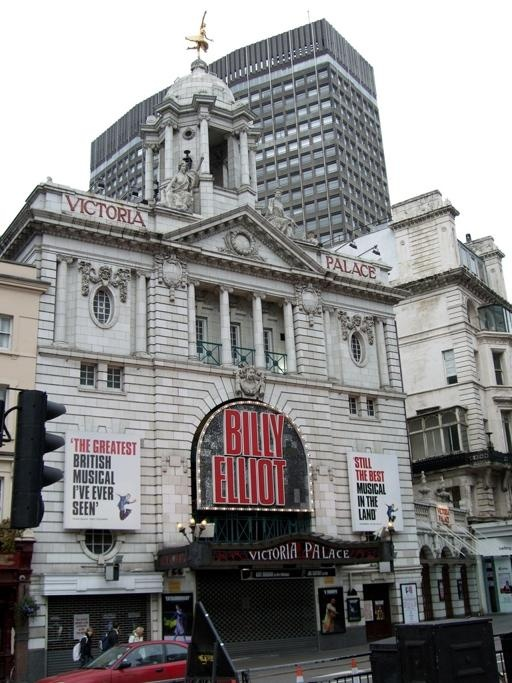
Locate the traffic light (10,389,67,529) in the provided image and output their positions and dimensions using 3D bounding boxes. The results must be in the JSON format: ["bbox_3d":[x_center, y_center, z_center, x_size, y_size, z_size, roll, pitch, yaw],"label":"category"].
[{"bbox_3d":[-2.293,1.186,8.421,0.511,1.520,0.831,1,-18,-15],"label":"traffic light"}]

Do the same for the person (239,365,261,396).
[{"bbox_3d":[-0.311,1.837,36.650,1.188,1.331,0.411,10,-22,-41],"label":"person"}]

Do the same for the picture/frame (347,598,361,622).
[{"bbox_3d":[4.464,12.361,36.837,0.937,1.173,0.118,15,-27,-37],"label":"picture/frame"}]

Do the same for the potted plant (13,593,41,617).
[{"bbox_3d":[-7.826,9.121,27.564,0.418,0.744,0.858,-9,-18,17],"label":"potted plant"}]

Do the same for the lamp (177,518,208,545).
[{"bbox_3d":[-2.576,7.514,31.676,1.279,1.301,0.380,-8,-23,-16],"label":"lamp"}]

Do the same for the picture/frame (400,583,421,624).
[{"bbox_3d":[7.422,12.642,38.853,0.805,1.726,1.964,-7,-17,11],"label":"picture/frame"}]

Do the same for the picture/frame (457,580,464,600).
[{"bbox_3d":[11.882,14.493,46.797,0.164,1.135,1.340,-9,-18,19],"label":"picture/frame"}]
